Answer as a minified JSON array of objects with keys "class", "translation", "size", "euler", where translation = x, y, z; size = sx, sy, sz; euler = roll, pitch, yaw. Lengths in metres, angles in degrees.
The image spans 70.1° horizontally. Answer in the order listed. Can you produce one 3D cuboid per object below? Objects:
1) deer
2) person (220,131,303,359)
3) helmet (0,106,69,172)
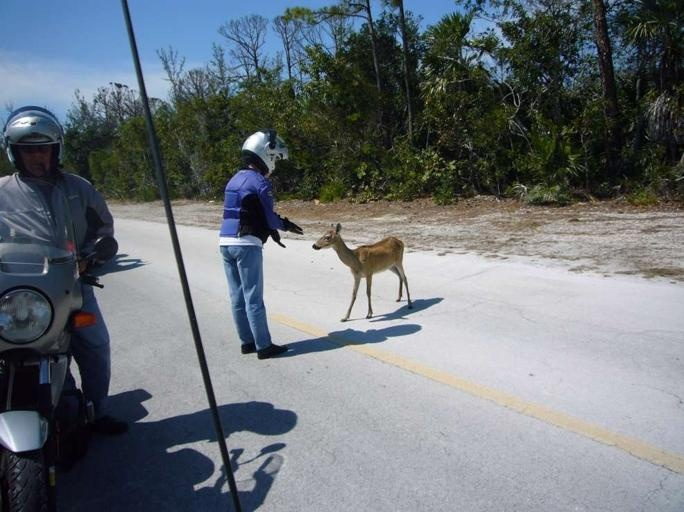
[{"class":"deer","translation":[0.389,0.166,7.816],"size":[1.554,1.430,0.899],"euler":[-15,18,-41]},{"class":"person","translation":[-1.105,-0.168,6.248],"size":[0.911,2.756,1.019],"euler":[-2,13,2]},{"class":"helmet","translation":[-2.530,-0.959,4.048],"size":[0.431,0.506,0.395],"euler":[3,14,24]}]
